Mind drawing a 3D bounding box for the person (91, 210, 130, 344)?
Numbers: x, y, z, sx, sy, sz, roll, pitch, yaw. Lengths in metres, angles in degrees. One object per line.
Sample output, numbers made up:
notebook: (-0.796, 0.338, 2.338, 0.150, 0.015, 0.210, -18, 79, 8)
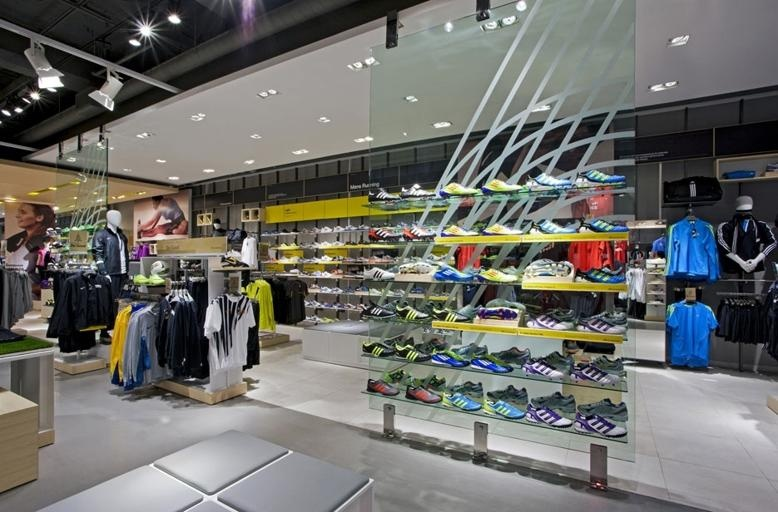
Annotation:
person: (-4.704, 0.117, 8.049, 0.484, 1.972, 0.804, 1, 0, -15)

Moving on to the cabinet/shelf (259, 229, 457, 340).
cabinet/shelf: (-0.630, 0.544, 8.203, 2.683, 1.319, 0.394, -1, -1, 25)

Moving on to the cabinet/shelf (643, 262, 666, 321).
cabinet/shelf: (4.559, 0.603, 8.181, 0.390, 0.980, 0.352, 0, 11, 35)

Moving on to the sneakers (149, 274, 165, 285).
sneakers: (-3.471, 0.363, 7.195, 0.231, 0.150, 0.102, 1, 0, -20)

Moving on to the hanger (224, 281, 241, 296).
hanger: (-2.270, 0.465, 7.080, 0.210, 0.337, 0.316, -1, -4, 5)

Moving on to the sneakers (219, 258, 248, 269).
sneakers: (-2.257, 0.124, 6.978, 0.430, 0.148, 0.135, -1, -1, -7)

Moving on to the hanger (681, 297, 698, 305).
hanger: (4.955, 0.737, 7.920, 0.336, 0.105, 0.150, 1, 0, 5)

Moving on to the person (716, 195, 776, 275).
person: (5.749, -0.305, 7.766, 0.751, 1.375, 0.379, 1, 0, 34)

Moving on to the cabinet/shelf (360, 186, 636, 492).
cabinet/shelf: (1.353, 1.011, 5.543, 3.823, 3.169, 1.161, 0, -2, 28)

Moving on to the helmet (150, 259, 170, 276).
helmet: (-3.457, 0.177, 7.331, 0.264, 0.223, 0.204, -21, 23, -22)

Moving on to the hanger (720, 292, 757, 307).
hanger: (5.658, 0.686, 7.799, 0.504, 0.206, 0.420, 1, 0, 31)
